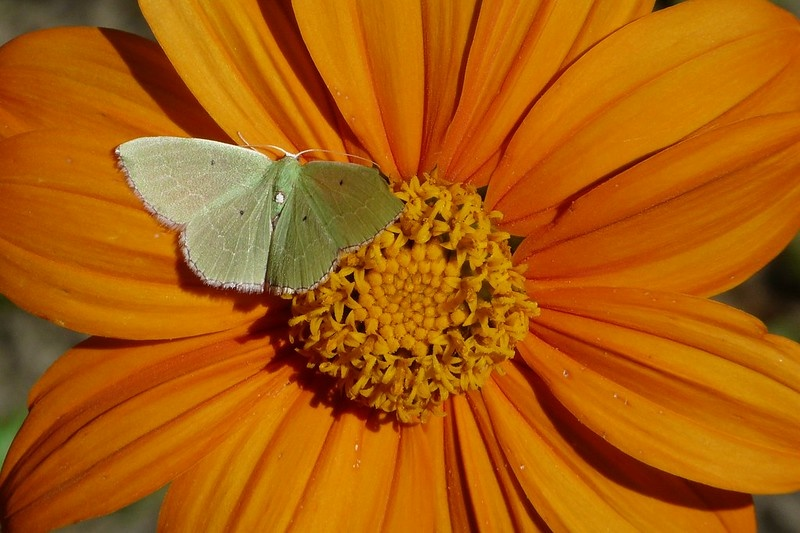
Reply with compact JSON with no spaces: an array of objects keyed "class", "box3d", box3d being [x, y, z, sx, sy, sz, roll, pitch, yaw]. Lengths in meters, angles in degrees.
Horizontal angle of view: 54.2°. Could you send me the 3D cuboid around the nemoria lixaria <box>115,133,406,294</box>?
[{"class":"nemoria lixaria","box3d":[-0.407,-0.152,1.994,0.725,0.132,0.435,9,92,-2]}]
